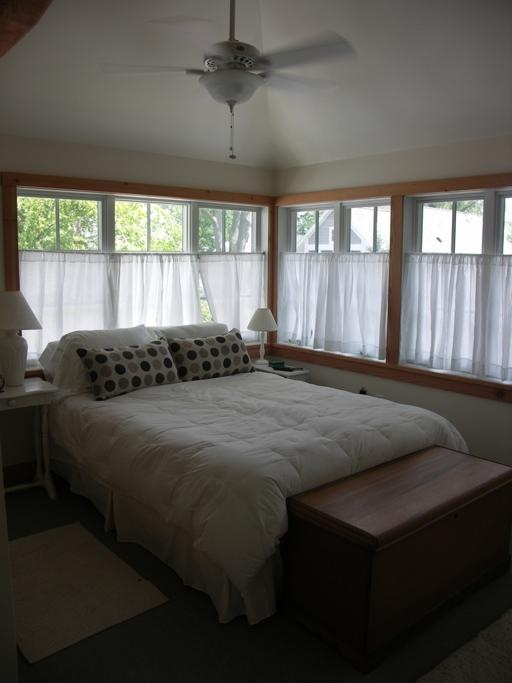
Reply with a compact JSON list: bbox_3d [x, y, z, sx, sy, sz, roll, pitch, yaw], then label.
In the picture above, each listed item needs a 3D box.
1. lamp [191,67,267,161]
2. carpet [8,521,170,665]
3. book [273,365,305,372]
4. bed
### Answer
[{"bbox_3d":[-0.102,-0.942,2.166,0.252,0.282,0.252,-1,6,-15],"label":"lamp"},{"bbox_3d":[-0.868,1.081,2.369,0.561,0.012,0.966,-6,7,-38],"label":"carpet"},{"bbox_3d":[0.282,0.251,4.558,0.122,0.030,0.129,4,7,-35],"label":"book"},{"bbox_3d":[-0.250,0.566,2.508,1.237,0.447,1.219,-5,7,-39],"label":"bed"}]
